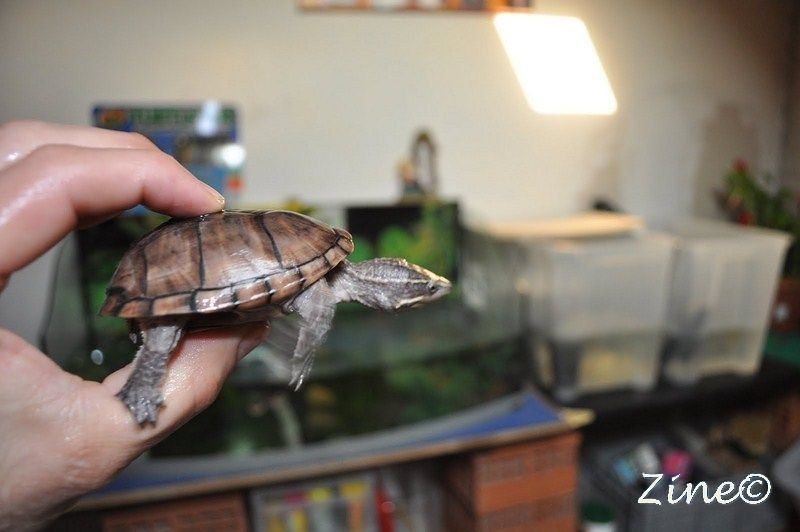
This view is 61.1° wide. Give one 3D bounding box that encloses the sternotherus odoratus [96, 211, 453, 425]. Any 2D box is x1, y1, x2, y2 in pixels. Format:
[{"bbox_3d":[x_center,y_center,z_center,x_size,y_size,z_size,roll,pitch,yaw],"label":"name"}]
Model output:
[{"bbox_3d":[-0.313,0.025,1.456,0.869,0.440,0.389,-8,16,-26],"label":"sternotherus odoratus"}]
